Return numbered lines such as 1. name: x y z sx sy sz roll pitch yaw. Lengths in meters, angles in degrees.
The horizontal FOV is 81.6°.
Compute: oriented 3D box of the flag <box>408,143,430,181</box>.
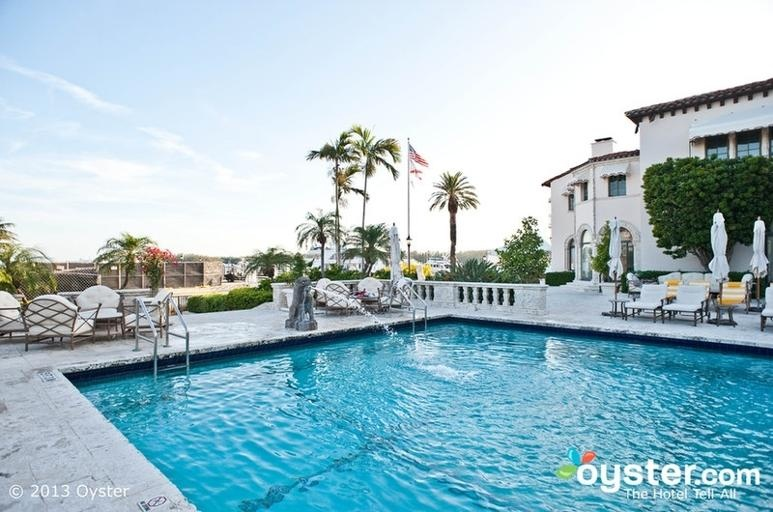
1. flag: 2.091 -6.117 28.558 1.257 2.238 0.965 3 14 12
